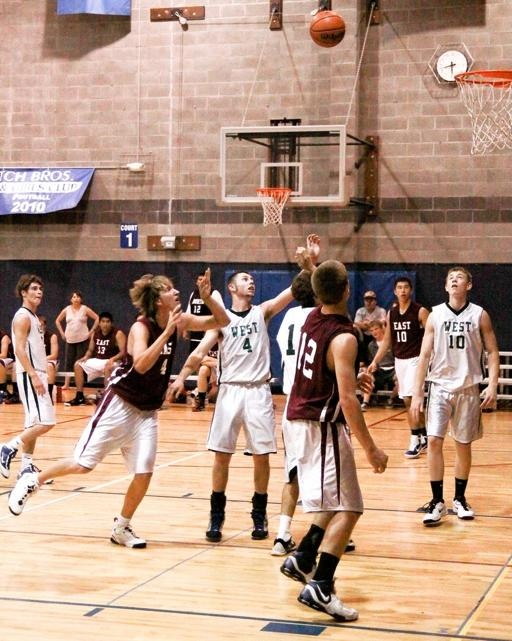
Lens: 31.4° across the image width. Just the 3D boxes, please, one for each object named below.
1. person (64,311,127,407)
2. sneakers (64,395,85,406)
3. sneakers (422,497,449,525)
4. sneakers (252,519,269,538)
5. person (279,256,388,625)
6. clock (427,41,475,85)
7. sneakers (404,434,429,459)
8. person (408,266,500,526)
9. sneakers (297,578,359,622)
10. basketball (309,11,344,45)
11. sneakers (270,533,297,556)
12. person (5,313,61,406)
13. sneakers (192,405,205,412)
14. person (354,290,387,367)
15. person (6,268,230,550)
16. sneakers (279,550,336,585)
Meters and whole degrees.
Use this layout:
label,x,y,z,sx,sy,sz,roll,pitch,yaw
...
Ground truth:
label,x,y,z,sx,sy,sz,roll,pitch,yaw
person,-2.137,0.507,12.145,0.790,1.281,0.860,-1,-2,-17
sneakers,-2.499,1.096,12.382,0.299,0.214,0.111,2,-3,-2
sneakers,1.144,1.237,5.880,0.081,0.109,0.236,-5,-1,20
sneakers,0.018,1.256,5.518,0.099,0.116,0.106,1,6,-2
person,0.354,0.547,4.223,0.456,1.631,0.601,1,6,2
clock,2.721,-3.574,12.773,0.629,0.580,0.229,2,6,9
sneakers,1.499,1.180,8.659,0.203,0.305,0.612,-2,-5,22
person,1.292,0.495,5.972,0.538,1.646,0.602,2,6,14
sneakers,0.339,1.258,4.103,0.287,0.132,0.099,25,-13,-12
basketball,0.828,-3.478,10.836,0.297,0.434,0.368,-3,7,-32
sneakers,0.148,1.277,5.179,0.066,0.075,0.170,-1,0,21
person,-2.944,0.523,12.595,0.373,1.071,0.603,-5,10,4
sneakers,-0.750,1.151,11.858,0.148,0.064,0.059,7,-9,-21
person,1.527,0.200,12.347,0.425,1.159,0.375,2,-1,1
person,-0.760,0.509,5.306,1.188,1.638,0.514,2,6,10
sneakers,0.230,1.156,4.243,0.089,0.117,0.237,3,-29,43
